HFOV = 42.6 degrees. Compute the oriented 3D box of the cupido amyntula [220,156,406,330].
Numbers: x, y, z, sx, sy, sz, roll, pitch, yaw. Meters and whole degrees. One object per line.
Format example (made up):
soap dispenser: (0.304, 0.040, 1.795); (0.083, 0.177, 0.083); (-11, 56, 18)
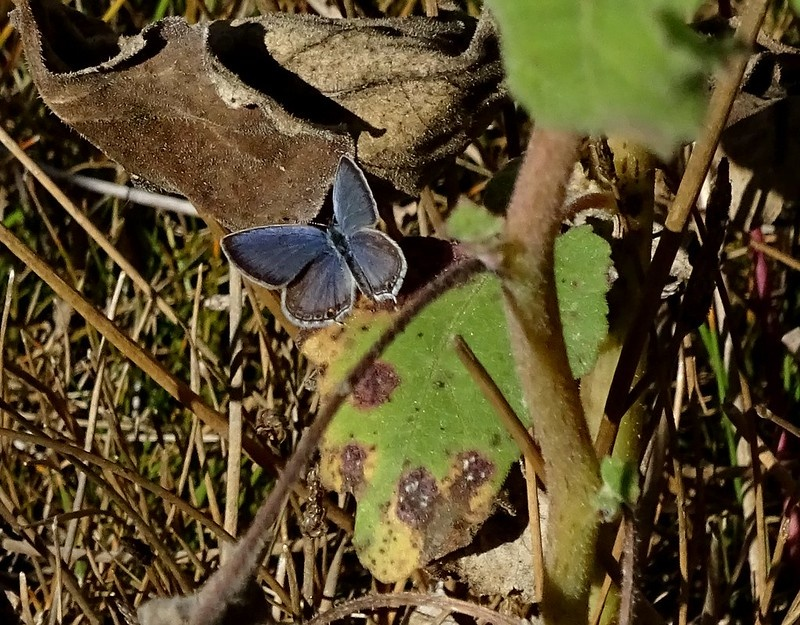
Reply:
cupido amyntula: (-0.157, -0.169, 2.135); (0.385, 0.385, 0.230); (13, 31, 16)
